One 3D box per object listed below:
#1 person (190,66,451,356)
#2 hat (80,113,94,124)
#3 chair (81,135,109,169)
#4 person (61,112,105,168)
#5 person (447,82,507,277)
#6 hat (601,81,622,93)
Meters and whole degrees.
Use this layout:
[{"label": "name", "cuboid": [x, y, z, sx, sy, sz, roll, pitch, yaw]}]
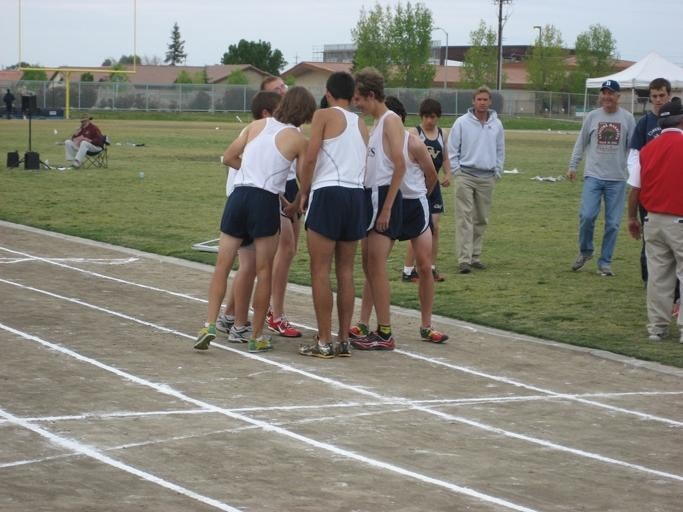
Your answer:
[{"label": "person", "cuboid": [-0.215, -0.387, 10.795, 1.705, 2.637, 0.642, 0, 7, -8]}, {"label": "hat", "cuboid": [-5.785, -3.111, 26.891, 0.261, 0.102, 0.283, -21, 6, 21]}, {"label": "chair", "cuboid": [-5.836, -2.405, 27.789, 0.779, 0.722, 0.683, -10, -4, 43]}, {"label": "person", "cuboid": [-5.939, -2.623, 27.302, 0.899, 1.122, 1.287, 0, 7, -3]}, {"label": "person", "cuboid": [1.665, -0.953, 14.765, 0.604, 2.295, 0.739, 4, 8, 23]}, {"label": "hat", "cuboid": [3.238, -2.028, 14.140, 0.157, 0.105, 0.222, 4, 5, 38]}]
